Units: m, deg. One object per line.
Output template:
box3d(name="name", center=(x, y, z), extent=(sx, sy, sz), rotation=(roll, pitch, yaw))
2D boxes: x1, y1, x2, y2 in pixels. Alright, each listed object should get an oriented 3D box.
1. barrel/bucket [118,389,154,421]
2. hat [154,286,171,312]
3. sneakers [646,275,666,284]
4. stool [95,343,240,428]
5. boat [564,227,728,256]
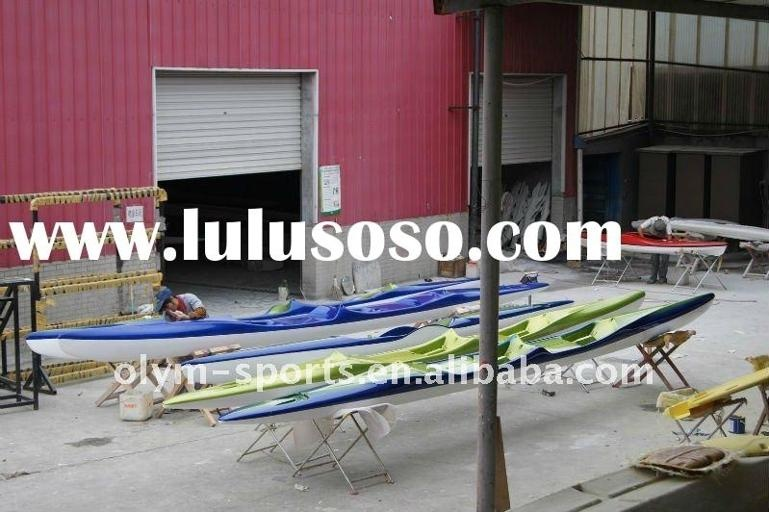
box3d(name="barrel/bucket", center=(-3.850, 2.357, 16.477), extent=(0.561, 0.460, 0.407), rotation=(-7, 7, -23))
box3d(name="hat", center=(-3.770, 0.739, 17.913), extent=(0.147, 0.431, 0.282), rotation=(36, -7, -19))
box3d(name="sneakers", center=(6.128, 0.557, 24.166), extent=(0.503, 0.201, 0.166), rotation=(3, 4, -28))
box3d(name="stool", center=(-3.540, 2.063, 17.155), extent=(1.855, 1.002, 1.189), rotation=(4, 2, 17))
box3d(name="boat", center=(6.293, -0.229, 24.321), extent=(2.672, 0.457, 0.887), rotation=(2, 6, 37))
